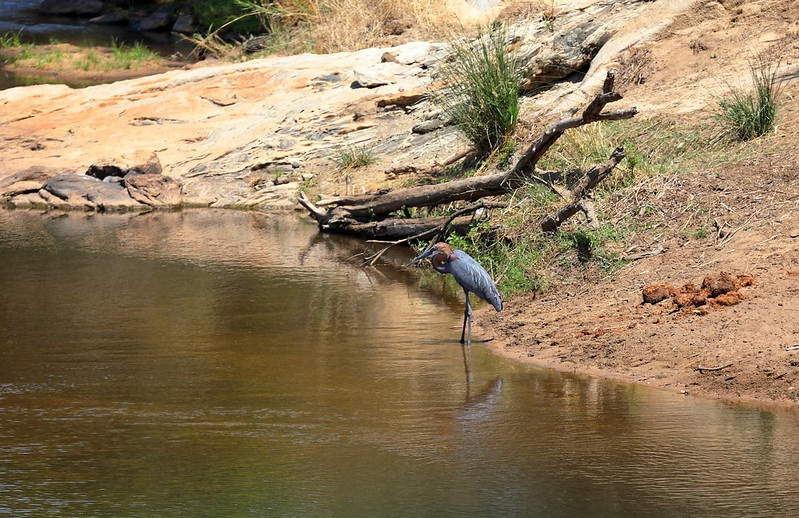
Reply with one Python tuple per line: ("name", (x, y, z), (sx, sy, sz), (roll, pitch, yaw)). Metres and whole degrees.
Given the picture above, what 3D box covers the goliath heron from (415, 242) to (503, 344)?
("goliath heron", (0.822, 0.432, 14.596), (0.749, 1.257, 0.981), (-5, 11, -22))
